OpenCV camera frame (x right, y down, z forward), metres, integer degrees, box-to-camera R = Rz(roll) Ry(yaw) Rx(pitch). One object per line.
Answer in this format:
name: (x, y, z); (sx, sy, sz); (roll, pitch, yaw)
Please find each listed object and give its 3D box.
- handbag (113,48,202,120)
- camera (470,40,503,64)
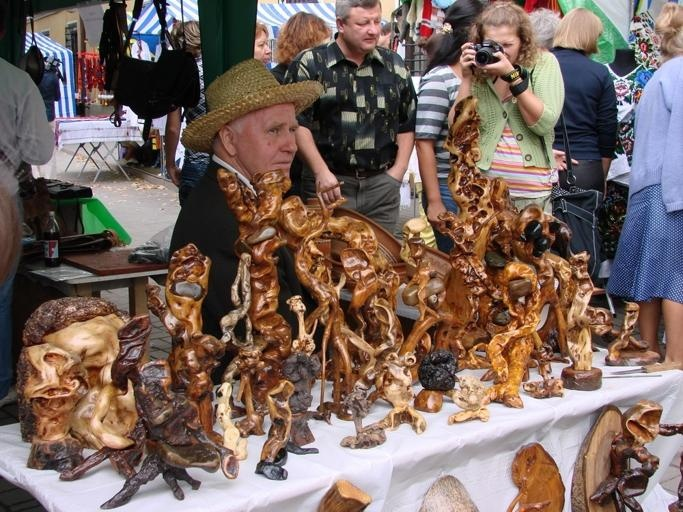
handbag: (-1.269, -1.211, 4.225); (0.466, 0.474, 0.476); (3, 17, -2)
camera: (0.688, -0.948, 2.779); (0.130, 0.112, 0.055); (-6, 10, -14)
